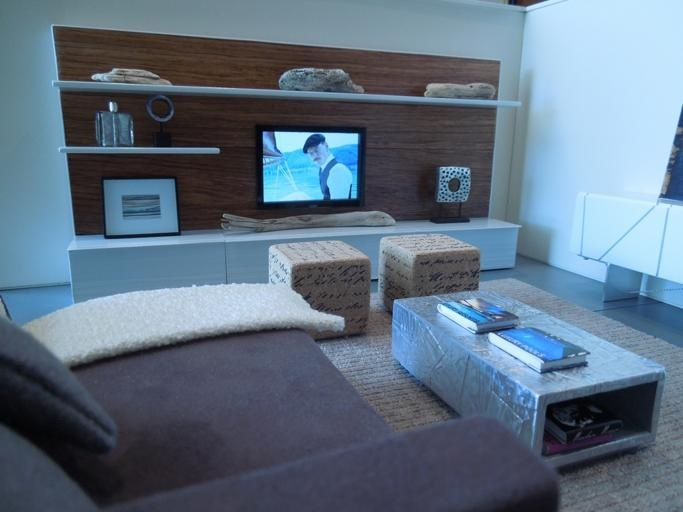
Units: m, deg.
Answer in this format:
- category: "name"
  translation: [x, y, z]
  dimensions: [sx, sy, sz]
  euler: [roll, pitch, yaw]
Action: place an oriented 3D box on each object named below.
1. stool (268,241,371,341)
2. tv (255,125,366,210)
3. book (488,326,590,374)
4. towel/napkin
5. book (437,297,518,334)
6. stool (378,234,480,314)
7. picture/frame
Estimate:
- category: "stool"
  translation: [-0.037, 0.135, 3.002]
  dimensions: [0.668, 0.366, 0.602]
  euler: [-8, 18, -22]
- category: "tv"
  translation: [-0.287, -0.735, 3.977]
  dimensions: [0.885, 0.494, 0.053]
  euler: [-1, 13, -13]
- category: "book"
  translation: [0.802, 0.358, 1.943]
  dimensions: [0.211, 0.035, 0.196]
  euler: [-6, 14, -29]
- category: "towel/napkin"
  translation: [-0.600, 0.222, 1.756]
  dimensions: [0.770, 0.107, 0.432]
  euler: [-7, 13, -24]
- category: "book"
  translation: [0.602, 0.259, 2.230]
  dimensions: [0.204, 0.040, 0.188]
  euler: [-7, 16, -28]
- category: "stool"
  translation: [0.661, 0.098, 3.219]
  dimensions: [0.557, 0.394, 0.506]
  euler: [6, 17, 13]
- category: "picture/frame"
  translation: [-1.452, -0.352, 3.597]
  dimensions: [0.627, 0.422, 0.026]
  euler: [-1, 4, 13]
